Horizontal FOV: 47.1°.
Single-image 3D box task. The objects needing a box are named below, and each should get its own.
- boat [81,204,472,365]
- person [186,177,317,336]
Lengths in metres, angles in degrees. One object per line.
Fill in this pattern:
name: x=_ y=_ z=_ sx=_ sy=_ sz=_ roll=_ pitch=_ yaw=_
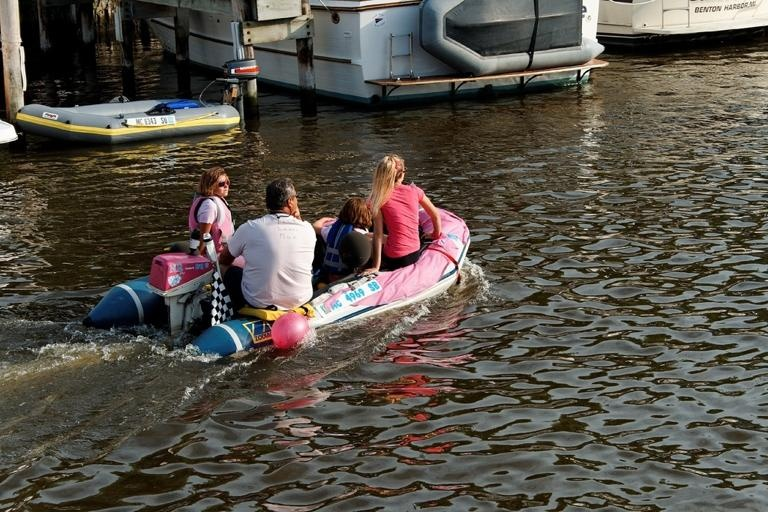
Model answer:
boat: x=-1.047 y=0.245 z=11.589 sx=4.884 sy=0.702 sz=2.319 roll=-20 pitch=25 yaw=-32
person: x=-1.341 y=-0.105 z=10.273 sx=1.127 sy=1.613 sz=0.463 roll=-5 pitch=21 yaw=-5
